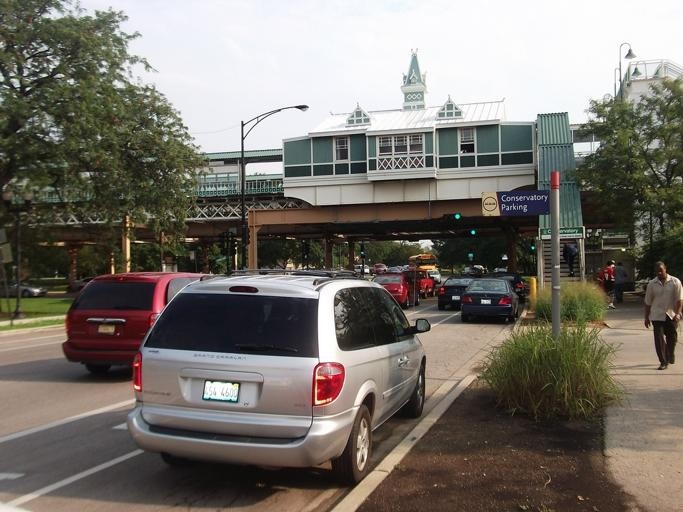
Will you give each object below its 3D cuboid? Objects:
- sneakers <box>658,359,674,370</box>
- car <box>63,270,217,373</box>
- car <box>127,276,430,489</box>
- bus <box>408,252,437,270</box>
[{"bbox_3d":[6.074,2.042,11.990,0.445,0.195,0.152,-12,11,-43],"label":"sneakers"},{"bbox_3d":[-3.757,1.537,14.162,2.280,2.117,4.607,0,-2,18],"label":"car"},{"bbox_3d":[-0.542,1.395,7.576,3.507,2.292,1.833,0,4,-37],"label":"car"},{"bbox_3d":[9.222,1.050,70.950,2.371,2.061,3.233,0,6,-15],"label":"bus"}]
